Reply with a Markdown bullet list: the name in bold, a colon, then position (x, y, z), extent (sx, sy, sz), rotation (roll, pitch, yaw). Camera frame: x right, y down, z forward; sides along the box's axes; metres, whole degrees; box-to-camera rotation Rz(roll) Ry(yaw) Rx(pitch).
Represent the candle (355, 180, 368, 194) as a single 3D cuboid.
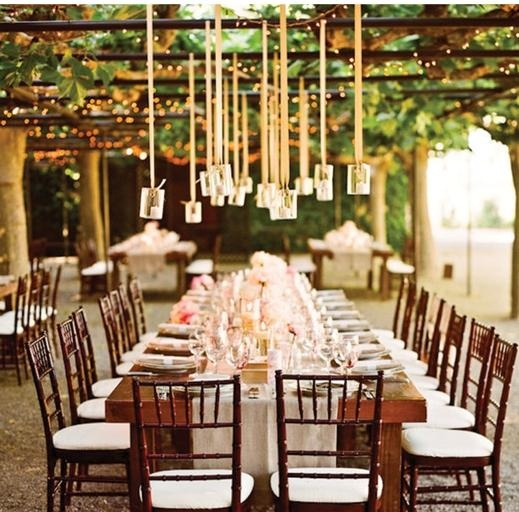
- **candle**: position (0.578, -0.394, 4.076), extent (0.075, 0.079, 0.077), rotation (1, 7, 8)
